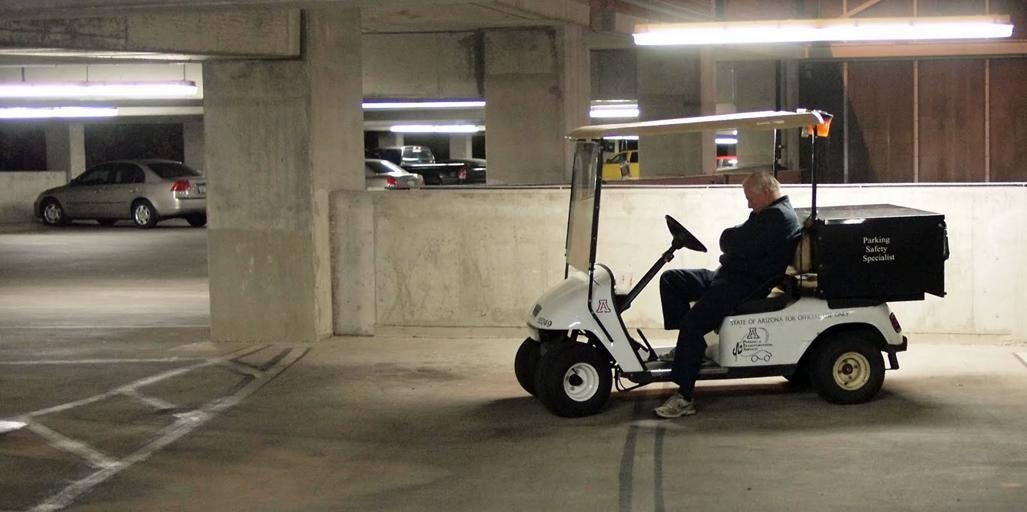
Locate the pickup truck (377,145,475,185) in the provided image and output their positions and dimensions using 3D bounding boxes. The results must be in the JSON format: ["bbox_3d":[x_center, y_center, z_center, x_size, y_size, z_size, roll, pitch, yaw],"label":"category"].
[{"bbox_3d":[-3.234,-3.909,42.115,4.205,1.685,2.247,5,7,36],"label":"pickup truck"}]

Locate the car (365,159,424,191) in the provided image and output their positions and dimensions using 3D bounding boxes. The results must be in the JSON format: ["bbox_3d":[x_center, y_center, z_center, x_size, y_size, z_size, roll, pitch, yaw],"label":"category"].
[{"bbox_3d":[-3.988,-2.709,31.368,1.505,0.948,2.921,-2,4,-7],"label":"car"}]

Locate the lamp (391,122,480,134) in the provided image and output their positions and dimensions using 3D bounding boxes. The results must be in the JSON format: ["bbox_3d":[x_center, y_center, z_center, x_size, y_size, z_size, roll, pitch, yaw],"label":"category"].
[{"bbox_3d":[-3.370,-5.970,44.964,5.065,0.686,0.352,0,-2,15],"label":"lamp"}]
